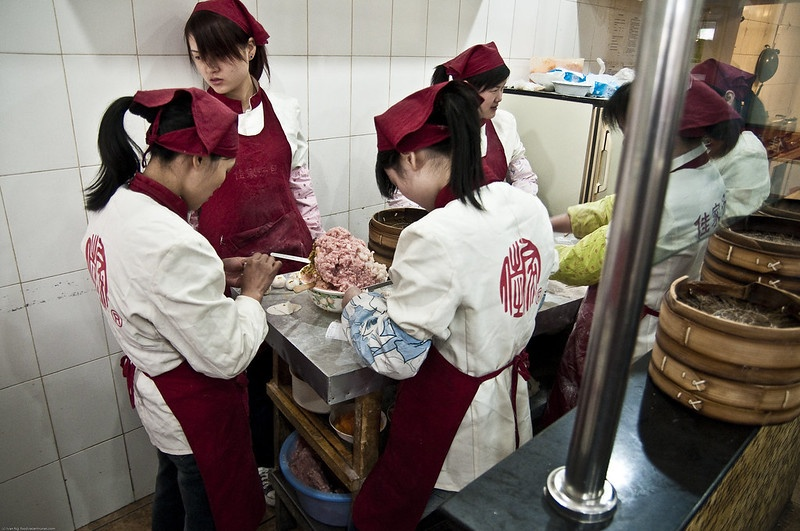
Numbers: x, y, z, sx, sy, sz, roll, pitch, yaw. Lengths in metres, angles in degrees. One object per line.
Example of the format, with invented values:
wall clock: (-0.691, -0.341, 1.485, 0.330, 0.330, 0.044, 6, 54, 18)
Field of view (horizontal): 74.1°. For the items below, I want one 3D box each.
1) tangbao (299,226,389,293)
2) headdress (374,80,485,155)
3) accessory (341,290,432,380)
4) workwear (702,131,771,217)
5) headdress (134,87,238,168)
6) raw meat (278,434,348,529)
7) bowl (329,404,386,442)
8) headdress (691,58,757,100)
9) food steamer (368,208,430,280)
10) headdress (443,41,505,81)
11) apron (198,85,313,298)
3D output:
tangbao: (-0.224, -0.019, 1.992, 0.256, 0.120, 0.256, 4, 17, 20)
headdress: (0.083, -0.462, 1.649, 0.320, 0.208, 0.142, -3, 21, -1)
accessory: (-0.058, 0.242, 1.724, 0.186, 0.244, 0.292, -14, 24, -27)
workwear: (0.770, -0.214, 1.214, 0.124, 0.152, 0.222, 12, 51, 34)
headdress: (-0.684, -0.475, 1.716, 0.338, 0.189, 0.243, 18, 19, 5)
raw meat: (-0.360, 0.886, 2.171, 0.291, 0.106, 0.266, 15, 26, 23)
bowl: (-0.190, 0.634, 2.160, 0.168, 0.054, 0.166, 10, 29, -6)
headdress: (0.549, -0.318, 0.899, 0.100, 0.068, 0.065, 2, 22, 12)
food steamer: (0.017, -0.108, 2.458, 0.270, 0.199, 0.270, 16, 27, 35)
headdress: (0.374, -1.033, 2.754, 0.262, 0.138, 0.197, -11, 45, 8)
apron: (-0.816, -0.419, 2.719, 0.733, 0.984, 0.522, -22, 41, -36)
